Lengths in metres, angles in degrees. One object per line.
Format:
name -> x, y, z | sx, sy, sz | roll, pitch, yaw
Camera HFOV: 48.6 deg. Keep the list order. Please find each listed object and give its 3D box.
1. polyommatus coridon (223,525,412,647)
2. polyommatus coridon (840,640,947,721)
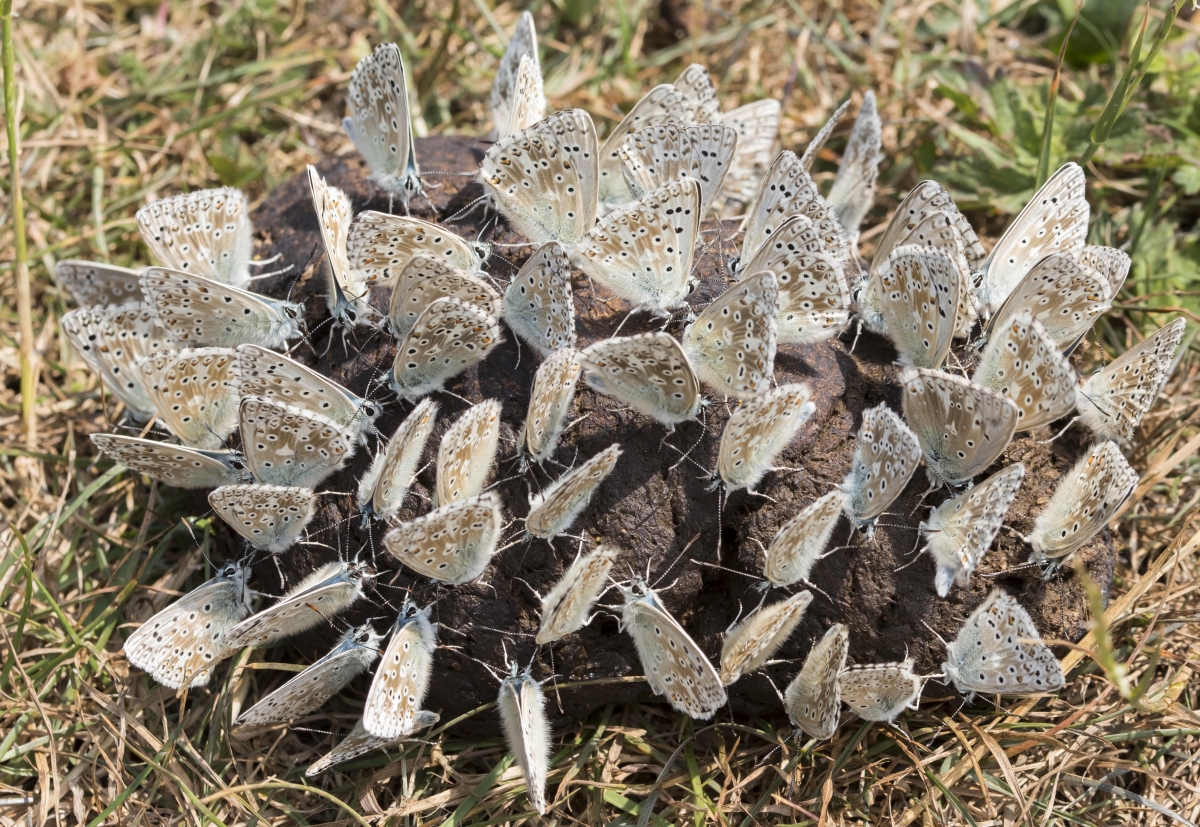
polyommatus coridon -> -1.467, 0.939, 6.589 | 0.209, 0.506, 0.526 | 33, 120, 33
polyommatus coridon -> 1.452, 1.340, 6.576 | 0.264, 0.508, 0.325 | -13, 72, -45
